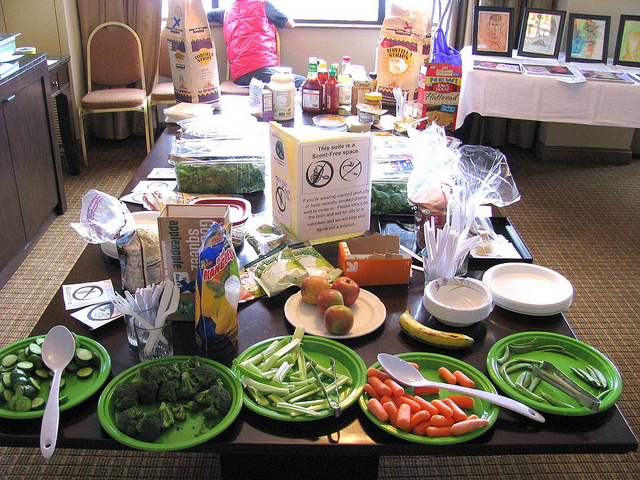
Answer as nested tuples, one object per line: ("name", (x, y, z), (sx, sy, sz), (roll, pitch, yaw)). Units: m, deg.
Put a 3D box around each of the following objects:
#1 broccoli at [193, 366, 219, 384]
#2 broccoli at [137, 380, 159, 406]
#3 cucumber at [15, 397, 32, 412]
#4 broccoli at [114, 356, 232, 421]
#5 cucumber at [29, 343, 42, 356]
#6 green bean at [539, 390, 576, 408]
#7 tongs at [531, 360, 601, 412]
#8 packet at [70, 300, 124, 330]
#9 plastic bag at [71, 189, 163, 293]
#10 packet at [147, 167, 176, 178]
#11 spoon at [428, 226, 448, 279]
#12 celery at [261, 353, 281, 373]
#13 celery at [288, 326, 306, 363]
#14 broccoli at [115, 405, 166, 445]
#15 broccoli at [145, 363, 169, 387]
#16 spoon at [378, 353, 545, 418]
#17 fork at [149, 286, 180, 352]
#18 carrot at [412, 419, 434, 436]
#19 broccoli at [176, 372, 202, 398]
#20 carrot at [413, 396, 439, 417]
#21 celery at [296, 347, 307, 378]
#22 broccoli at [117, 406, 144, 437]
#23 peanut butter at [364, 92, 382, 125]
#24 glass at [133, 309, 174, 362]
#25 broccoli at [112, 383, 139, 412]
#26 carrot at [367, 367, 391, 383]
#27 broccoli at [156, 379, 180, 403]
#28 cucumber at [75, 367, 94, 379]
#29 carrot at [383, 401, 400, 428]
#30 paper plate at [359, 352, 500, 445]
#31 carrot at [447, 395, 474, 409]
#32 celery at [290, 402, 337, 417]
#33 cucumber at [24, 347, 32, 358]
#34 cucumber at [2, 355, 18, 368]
("broccoli", (-0.261, 0.311, 1.041), (0.046, 0.028, 0.037), (-3, 40, -33))
("broccoli", (-0.382, 0.343, 1.011), (0.039, 0.053, 0.030), (0, -9, -24))
("cucumber", (-0.650, 0.363, 0.994), (0.031, 0.026, 0.023), (-1, 26, -4))
("broccoli", (-0.324, 0.331, 1.010), (0.178, 0.060, 0.130), (-8, 35, -26))
("cucumber", (-0.687, 0.267, 1.099), (0.022, 0.009, 0.041), (-20, 47, -39))
("green bean", (0.553, 0.374, 1.056), (0.067, 0.011, 0.009), (22, 22, 14))
("tongs", (0.602, 0.362, 1.086), (0.078, 0.034, 0.144), (23, 10, -41))
("packet", (-0.617, 0.210, 1.264), (0.104, 0.016, 0.113), (24, 40, 23))
("plastic bag", (-0.568, 0.005, 1.311), (0.359, 0.270, 0.152), (22, 33, 36))
("packet", (-0.688, -0.292, 2.009), (0.133, 0.016, 0.101), (2, 26, 4))
("spoon", (0.353, 0.054, 1.389), (0.028, 0.186, 0.031), (17, 20, 28))
("celery", (-0.120, 0.300, 1.096), (0.017, 0.021, 0.066), (47, 36, -1))
("celery", (-0.058, 0.272, 1.153), (0.018, 0.024, 0.095), (-40, 17, 22))
("broccoli", (-0.375, 0.386, 0.948), (0.084, 0.044, 0.065), (3, 35, -25))
("broccoli", (-0.375, 0.304, 1.048), (0.039, 0.044, 0.045), (-36, 20, -10))
("spoon", (0.325, 0.350, 1.070), (0.261, 0.038, 0.049), (18, 25, 20))
("fork", (-0.381, 0.193, 1.102), (0.026, 0.184, 0.026), (27, -3, -10))
("carrot", (0.226, 0.407, 0.982), (0.042, 0.013, 0.021), (-21, 41, -20))
("broccoli", (-0.293, 0.336, 1.042), (0.043, 0.056, 0.046), (-18, 67, 0))
("carrot", (0.239, 0.374, 1.015), (0.062, 0.020, 0.019), (33, 67, 35))
("celery", (-0.043, 0.307, 1.114), (0.017, 0.011, 0.067), (-3, 43, -9))
("broccoli", (-0.396, 0.380, 0.947), (0.041, 0.030, 0.054), (-10, 27, -18))
("peanut butter", (0.302, -0.756, 2.607), (0.098, 0.153, 0.223), (2, 26, 4))
("glass", (-0.401, 0.247, 1.107), (0.084, 0.125, 0.066), (-13, 29, -24))
("broccoli", (-0.426, 0.345, 0.994), (0.051, 0.050, 0.053), (-31, 4, -9))
("carrot", (0.138, 0.319, 1.069), (0.049, 0.017, 0.023), (17, 33, 7))
("broccoli", (-0.340, 0.341, 1.020), (0.048, 0.042, 0.047), (-32, -5, -9))
("cucumber", (-0.569, 0.323, 1.097), (0.025, 0.006, 0.026), (15, 30, 25))
("carrot", (0.157, 0.385, 0.994), (0.024, 0.047, 0.015), (-27, -17, 23))
("paper plate", (0.275, 0.362, 1.056), (0.203, 0.022, 0.204), (-3, 26, -9))
("carrot", (0.324, 0.374, 1.042), (0.049, 0.025, 0.020), (6, -1, -1))
("celery", (-0.016, 0.379, 1.009), (0.084, 0.014, 0.022), (-12, 24, -19))
("cucumber", (-0.704, 0.273, 1.093), (0.013, 0.021, 0.021), (-22, 8, -8))
("cucumber", (-0.739, 0.292, 1.083), (0.033, 0.012, 0.035), (-16, 31, -30))
